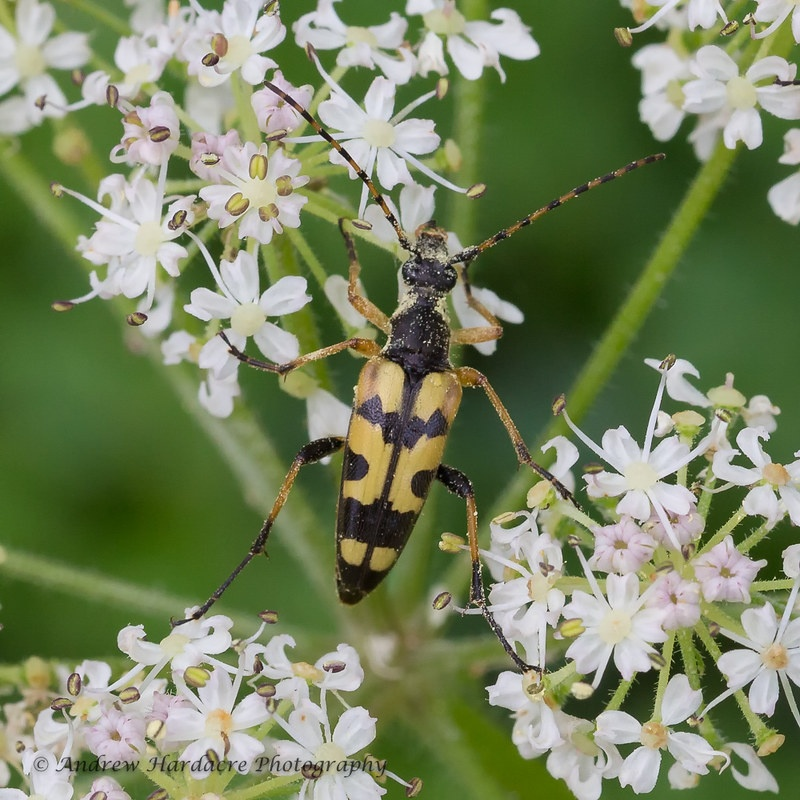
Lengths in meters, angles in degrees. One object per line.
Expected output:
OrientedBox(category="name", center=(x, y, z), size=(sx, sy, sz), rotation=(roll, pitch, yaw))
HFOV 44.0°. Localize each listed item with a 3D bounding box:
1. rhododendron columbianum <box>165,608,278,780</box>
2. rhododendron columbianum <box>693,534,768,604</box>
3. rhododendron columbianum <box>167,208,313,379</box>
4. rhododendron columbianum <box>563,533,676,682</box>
OrientedBox(category="rhododendron columbianum", center=(-0.690, 1.161, 3.767), size=(0.429, 0.544, 0.501), rotation=(-13, 16, -12))
OrientedBox(category="rhododendron columbianum", center=(1.202, 0.594, 3.555), size=(0.200, 0.078, 0.216), rotation=(-13, 55, 1))
OrientedBox(category="rhododendron columbianum", center=(-0.640, -0.382, 3.974), size=(0.391, 0.186, 0.630), rotation=(-16, -15, 17))
OrientedBox(category="rhododendron columbianum", center=(0.787, 0.806, 3.618), size=(0.364, 0.429, 0.285), rotation=(-8, 16, 7))
